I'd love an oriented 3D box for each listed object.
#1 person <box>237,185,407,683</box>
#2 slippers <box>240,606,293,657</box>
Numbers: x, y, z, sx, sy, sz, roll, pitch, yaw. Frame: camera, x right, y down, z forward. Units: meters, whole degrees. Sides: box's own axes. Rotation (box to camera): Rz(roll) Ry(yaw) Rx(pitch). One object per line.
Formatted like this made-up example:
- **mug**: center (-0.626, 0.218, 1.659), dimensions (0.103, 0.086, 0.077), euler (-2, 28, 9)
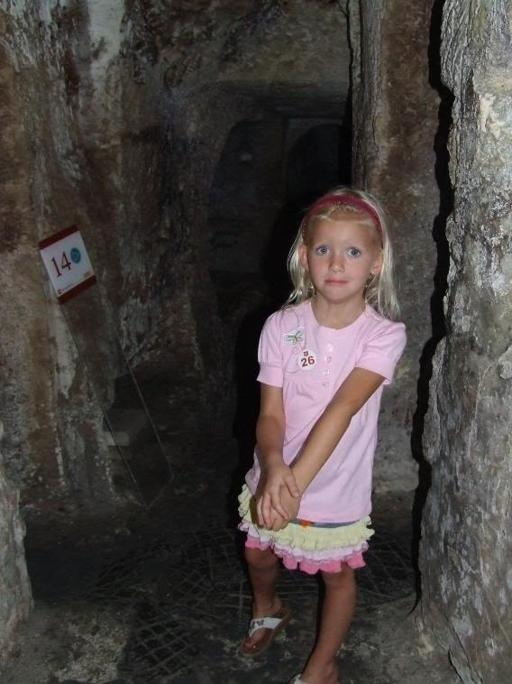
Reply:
- **person**: center (0.126, 0.207, 1.545), dimensions (0.327, 1.012, 0.489), euler (2, 15, 11)
- **slippers**: center (0.025, 0.644, 1.709), dimensions (0.045, 0.048, 0.132), euler (6, 24, 41)
